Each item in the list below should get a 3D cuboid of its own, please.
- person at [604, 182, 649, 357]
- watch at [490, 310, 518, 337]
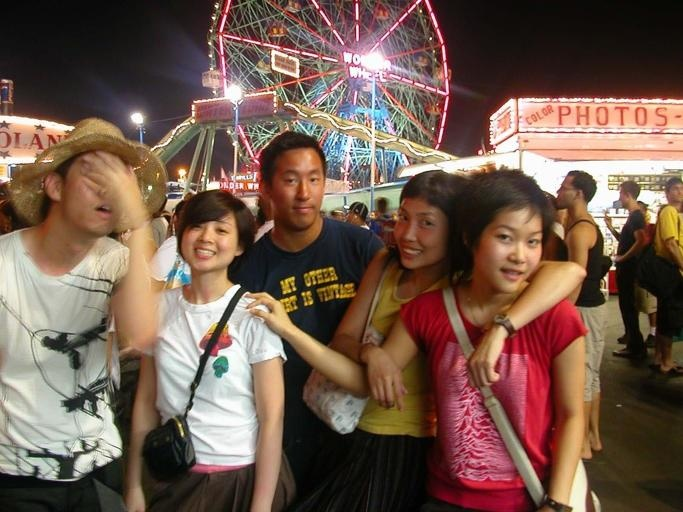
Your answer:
[{"bbox_3d":[4.683,0.232,8.073,0.661,3.184,0.718,-4,10,-29],"label":"person"},{"bbox_3d":[0.752,0.303,2.279,0.074,0.118,0.112,-39,38,-17],"label":"watch"}]
